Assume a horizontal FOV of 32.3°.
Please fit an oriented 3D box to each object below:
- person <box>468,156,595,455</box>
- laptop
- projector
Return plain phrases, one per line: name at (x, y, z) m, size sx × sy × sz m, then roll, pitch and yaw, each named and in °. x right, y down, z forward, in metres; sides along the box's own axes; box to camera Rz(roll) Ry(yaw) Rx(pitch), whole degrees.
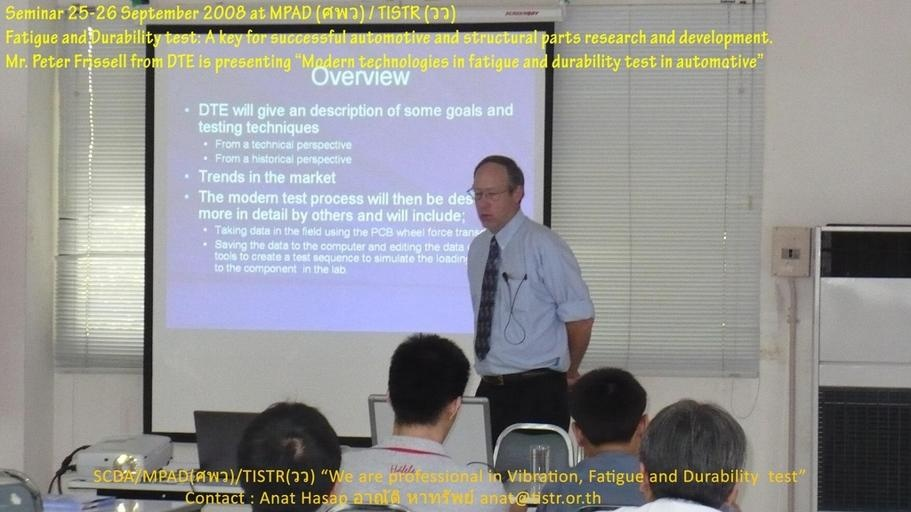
person at (0.530, 0.327, 11.898) m, size 0.956 × 2.085 × 0.945 m, roll -1°, pitch 0°, yaw -45°
laptop at (-1.698, 1.337, 11.343) m, size 0.278 × 0.478 × 0.646 m, roll 2°, pitch 0°, yaw 2°
projector at (-2.441, 1.478, 11.685) m, size 0.812 × 0.218 × 0.788 m, roll 1°, pitch 6°, yaw -25°
